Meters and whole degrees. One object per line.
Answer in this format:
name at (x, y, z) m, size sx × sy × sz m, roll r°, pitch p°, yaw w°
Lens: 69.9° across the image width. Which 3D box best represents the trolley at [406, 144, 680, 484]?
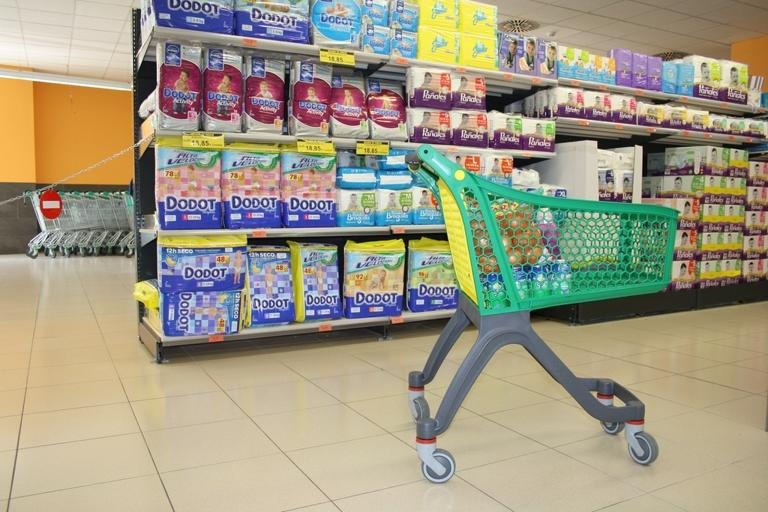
trolley at (0.726, 0.260, 2.974) m, size 1.573 × 1.525 × 0.877 m, roll -1°, pitch 2°, yaw -12°
